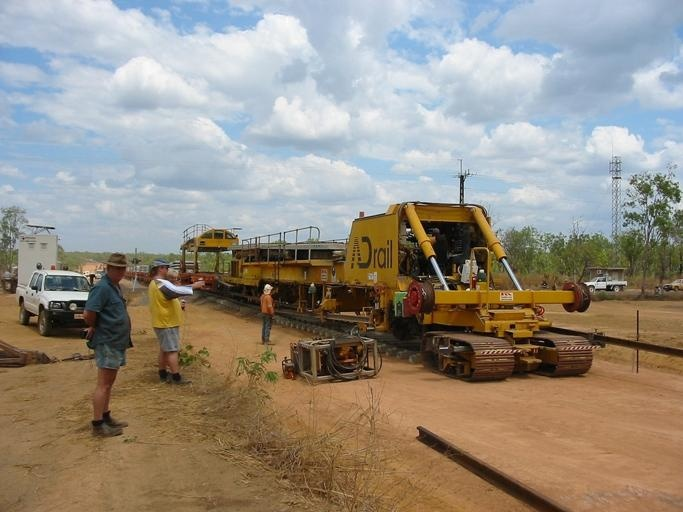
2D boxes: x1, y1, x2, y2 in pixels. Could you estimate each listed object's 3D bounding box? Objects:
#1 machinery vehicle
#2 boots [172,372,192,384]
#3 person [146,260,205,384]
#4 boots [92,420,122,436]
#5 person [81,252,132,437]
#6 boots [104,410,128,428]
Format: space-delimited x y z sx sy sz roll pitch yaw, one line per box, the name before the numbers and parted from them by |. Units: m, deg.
machinery vehicle | 0.242 0.821 16.318 3.487 4.177 15.678 2 -3 -29
boots | -3.079 2.367 9.119 0.462 0.184 0.153 -2 2 -19
person | -3.259 1.262 8.961 0.776 2.363 1.475 2 -3 -22
boots | -3.215 2.299 6.325 0.504 0.208 0.169 1 0 -6
person | -3.208 1.182 6.436 0.555 2.427 0.546 2 -2 -19
boots | -3.076 2.269 6.562 0.420 0.244 0.148 0 2 -22
